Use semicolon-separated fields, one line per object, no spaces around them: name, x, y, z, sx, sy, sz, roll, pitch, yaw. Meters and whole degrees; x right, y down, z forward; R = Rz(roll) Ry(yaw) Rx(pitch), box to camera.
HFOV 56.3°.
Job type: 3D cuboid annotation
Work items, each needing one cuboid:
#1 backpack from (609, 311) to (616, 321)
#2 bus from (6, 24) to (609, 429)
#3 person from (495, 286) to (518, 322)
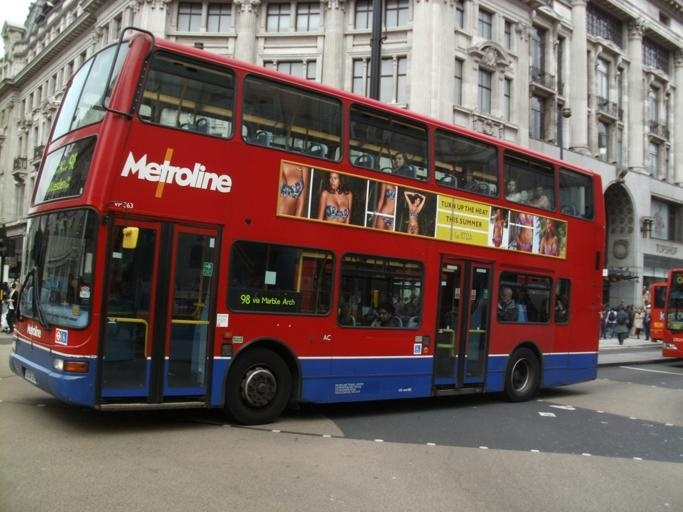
backpack;14.802;3.242;34.807;0.424;0.594;0.301;2;4;0
bus;0.286;0.052;12.927;10.983;5.791;3.600;6;-6;-33
person;3.445;1.065;13.360;0.369;0.820;0.455;5;17;13
